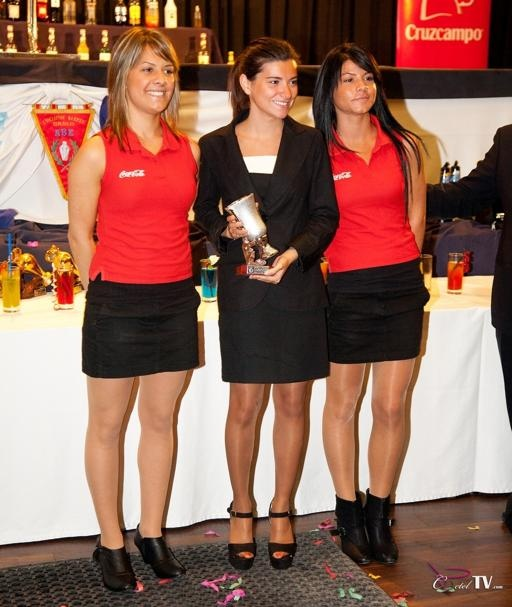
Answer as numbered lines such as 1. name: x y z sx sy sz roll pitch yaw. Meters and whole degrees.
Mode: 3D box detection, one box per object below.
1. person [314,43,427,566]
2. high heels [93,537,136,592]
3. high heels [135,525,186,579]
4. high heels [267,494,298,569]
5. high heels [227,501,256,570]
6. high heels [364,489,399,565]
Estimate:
1. person: 0.290 0.052 1.821 0.460 1.551 0.352 -1 10 -9
2. high heels: -0.399 0.721 1.574 0.075 0.083 0.202 7 17 -38
3. high heels: -0.292 0.726 1.644 0.072 0.088 0.221 -1 17 -45
4. high heels: 0.077 0.701 1.679 0.084 0.127 0.194 1 6 4
5. high heels: -0.039 0.702 1.660 0.084 0.129 0.209 1 5 5
6. high heels: 0.397 0.704 1.773 0.088 0.169 0.254 -1 4 2
